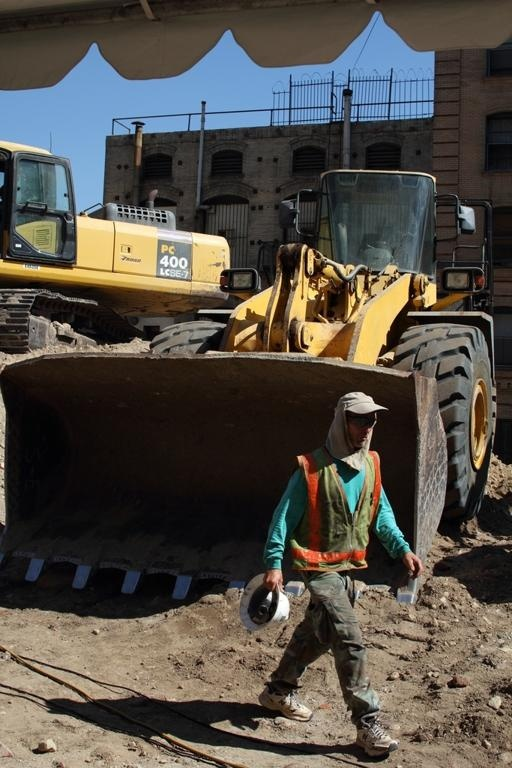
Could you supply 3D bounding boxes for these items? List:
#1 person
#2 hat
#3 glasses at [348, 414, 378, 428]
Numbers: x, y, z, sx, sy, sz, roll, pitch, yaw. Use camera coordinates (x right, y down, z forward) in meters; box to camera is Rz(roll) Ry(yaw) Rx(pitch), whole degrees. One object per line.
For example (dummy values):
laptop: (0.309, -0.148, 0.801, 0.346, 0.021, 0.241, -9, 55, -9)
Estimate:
person: (0.331, 0.725, 3.342, 0.629, 1.382, 0.567, 2, 2, 10)
hat: (0.384, 0.188, 3.353, 0.199, 0.307, 0.263, 2, 2, 5)
glasses: (0.419, 0.141, 3.273, 0.122, 0.062, 0.077, 1, 2, -13)
